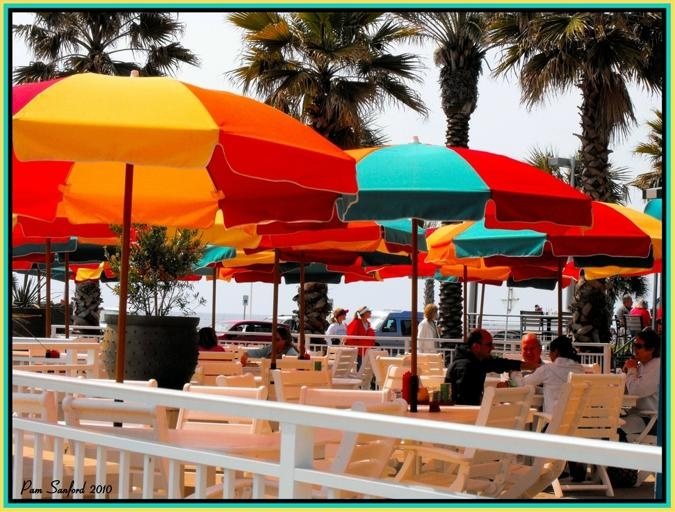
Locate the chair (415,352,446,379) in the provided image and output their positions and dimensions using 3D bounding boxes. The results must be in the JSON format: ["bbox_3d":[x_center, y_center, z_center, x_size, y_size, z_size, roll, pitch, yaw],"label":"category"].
[{"bbox_3d":[1.142,1.315,12.343,0.333,0.234,0.473,-1,0,12],"label":"chair"}]

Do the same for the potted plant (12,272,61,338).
[{"bbox_3d":[-4.872,0.829,15.686,0.769,1.057,0.789,1,-5,-34],"label":"potted plant"}]

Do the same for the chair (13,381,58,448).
[{"bbox_3d":[-1.909,0.988,6.270,0.197,0.262,0.197,-5,18,-15],"label":"chair"}]

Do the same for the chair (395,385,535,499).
[{"bbox_3d":[0.956,1.470,8.144,1.013,0.917,1.875,4,-4,-8],"label":"chair"}]

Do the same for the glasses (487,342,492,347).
[{"bbox_3d":[1.561,0.896,10.320,0.048,0.041,0.017,6,12,-26],"label":"glasses"}]

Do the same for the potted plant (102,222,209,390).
[{"bbox_3d":[-1.773,0.514,9.697,1.023,1.652,0.837,1,-11,-3],"label":"potted plant"}]

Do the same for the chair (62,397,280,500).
[{"bbox_3d":[-0.989,1.150,6.667,0.851,0.575,1.395,-1,-11,28],"label":"chair"}]

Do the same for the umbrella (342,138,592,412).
[{"bbox_3d":[1.122,0.128,9.219,2.229,2.223,2.216,6,-4,9],"label":"umbrella"}]

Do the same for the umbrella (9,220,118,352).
[{"bbox_3d":[-3.848,0.382,13.978,1.864,1.446,1.663,1,-6,-5],"label":"umbrella"}]

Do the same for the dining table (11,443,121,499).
[{"bbox_3d":[-1.726,1.391,6.457,0.633,0.330,1.685,4,-4,-14],"label":"dining table"}]

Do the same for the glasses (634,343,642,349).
[{"bbox_3d":[3.153,0.934,10.539,0.059,0.021,0.055,11,-13,-22],"label":"glasses"}]

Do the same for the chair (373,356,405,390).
[{"bbox_3d":[0.572,1.325,11.654,0.449,0.450,0.316,1,-1,35],"label":"chair"}]
